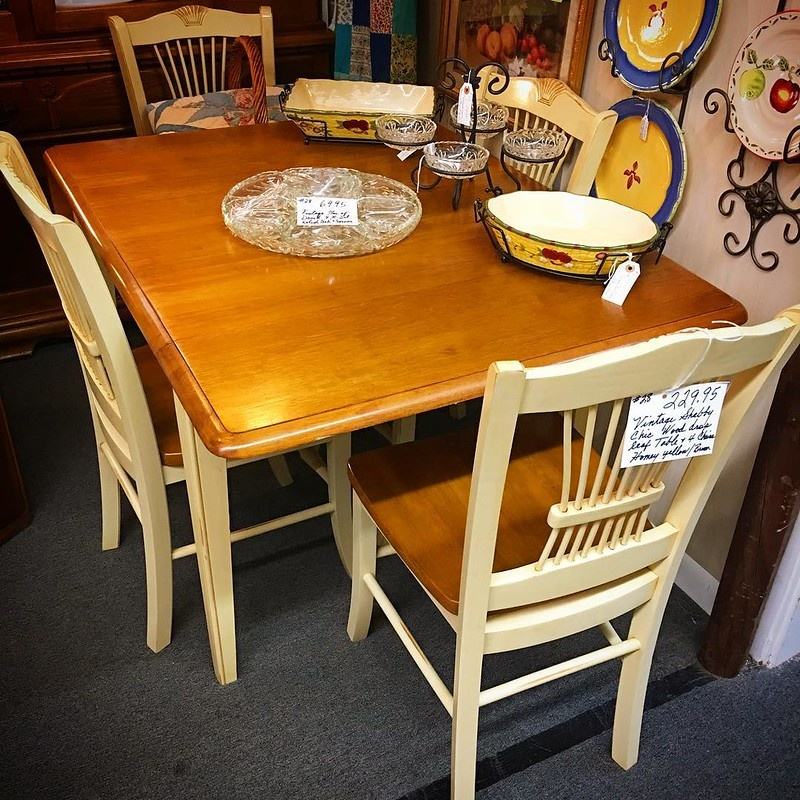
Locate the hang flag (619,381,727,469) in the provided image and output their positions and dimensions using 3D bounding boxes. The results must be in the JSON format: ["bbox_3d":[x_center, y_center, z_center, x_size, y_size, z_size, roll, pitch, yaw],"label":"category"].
[{"bbox_3d":[0.332,0.028,0.797,0.115,0.100,0.011,-13,38,-18],"label":"hang flag"}]

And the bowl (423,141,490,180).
[{"bbox_3d":[0.121,-0.555,1.500,0.138,0.061,0.143,0,38,0],"label":"bowl"}]

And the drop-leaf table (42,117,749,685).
[{"bbox_3d":[0.007,0.010,1.260,0.795,0.562,1.108,-13,41,-25],"label":"drop-leaf table"}]

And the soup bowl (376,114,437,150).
[{"bbox_3d":[0.013,-0.685,1.672,0.145,0.063,0.144,0,35,0],"label":"soup bowl"}]

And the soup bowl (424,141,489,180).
[{"bbox_3d":[0.121,-0.553,1.498,0.138,0.060,0.142,0,38,0],"label":"soup bowl"}]

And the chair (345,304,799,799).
[{"bbox_3d":[0.228,0.217,1.158,0.518,1.011,0.525,-15,38,-22],"label":"chair"}]

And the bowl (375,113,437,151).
[{"bbox_3d":[0.012,-0.688,1.673,0.145,0.063,0.144,0,35,0],"label":"bowl"}]

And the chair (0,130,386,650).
[{"bbox_3d":[-0.421,0.006,1.398,0.589,1.183,0.563,-19,58,-27],"label":"chair"}]

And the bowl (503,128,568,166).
[{"bbox_3d":[0.323,-0.613,1.579,0.133,0.063,0.132,-3,44,3],"label":"bowl"}]
